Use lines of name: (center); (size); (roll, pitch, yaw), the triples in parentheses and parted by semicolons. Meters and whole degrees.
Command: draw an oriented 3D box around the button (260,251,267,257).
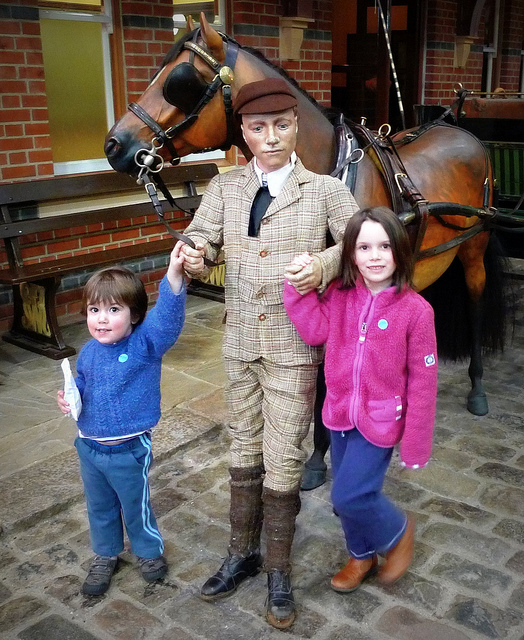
button: (0.004, -0.186, 1.417); (0.017, 0.015, 0.004); (3, 11, -1)

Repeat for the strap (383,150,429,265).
strap: (0.613, -0.485, 2.159); (0.176, 0.485, 0.238); (0, 9, 13)

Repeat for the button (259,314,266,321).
button: (0.001, -0.008, 1.441); (0.018, 0.016, 0.009); (-18, -9, 7)

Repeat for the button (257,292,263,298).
button: (-0.005, -0.071, 1.436); (0.016, 0.015, 0.005); (1, 10, 18)

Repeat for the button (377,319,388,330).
button: (0.314, 0.011, 1.311); (0.024, 0.025, 0.008); (0, 9, 12)

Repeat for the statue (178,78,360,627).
statue: (-0.014, 0.109, 1.464); (0.573, 1.553, 0.579); (6, 9, 30)

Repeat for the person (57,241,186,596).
person: (-0.361, 0.336, 1.511); (0.465, 1.098, 0.231); (5, 11, 35)

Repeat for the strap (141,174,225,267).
strap: (-0.266, -0.286, 1.395); (0.081, 0.348, 0.213); (-34, 7, 12)

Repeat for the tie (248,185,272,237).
tie: (-0.008, -0.312, 1.446); (0.059, 0.147, 0.043); (-10, 12, -41)

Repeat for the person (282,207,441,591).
person: (0.272, 0.291, 1.444); (0.394, 1.183, 0.301); (-2, 9, 2)

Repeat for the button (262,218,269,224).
button: (0.010, -0.277, 1.412); (0.015, 0.013, 0.003); (9, -7, -6)
